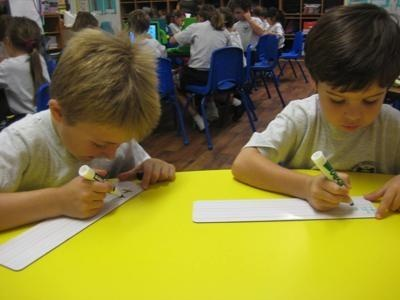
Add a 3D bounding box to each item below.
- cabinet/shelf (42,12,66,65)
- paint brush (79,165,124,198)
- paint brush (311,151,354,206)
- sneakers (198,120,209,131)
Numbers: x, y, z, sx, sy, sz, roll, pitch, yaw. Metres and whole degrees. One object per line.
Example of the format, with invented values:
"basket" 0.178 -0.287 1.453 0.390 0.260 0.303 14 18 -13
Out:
"cabinet/shelf" -3.334 -2.649 7.130 0.327 0.674 0.177 -15 27 -36
"paint brush" -0.301 0.097 0.956 0.047 0.118 0.031 -40 37 13
"paint brush" 0.369 0.069 0.833 0.025 0.026 0.146 17 24 -41
"sneakers" 0.032 -0.289 3.698 0.119 0.122 0.120 -8 27 -14
